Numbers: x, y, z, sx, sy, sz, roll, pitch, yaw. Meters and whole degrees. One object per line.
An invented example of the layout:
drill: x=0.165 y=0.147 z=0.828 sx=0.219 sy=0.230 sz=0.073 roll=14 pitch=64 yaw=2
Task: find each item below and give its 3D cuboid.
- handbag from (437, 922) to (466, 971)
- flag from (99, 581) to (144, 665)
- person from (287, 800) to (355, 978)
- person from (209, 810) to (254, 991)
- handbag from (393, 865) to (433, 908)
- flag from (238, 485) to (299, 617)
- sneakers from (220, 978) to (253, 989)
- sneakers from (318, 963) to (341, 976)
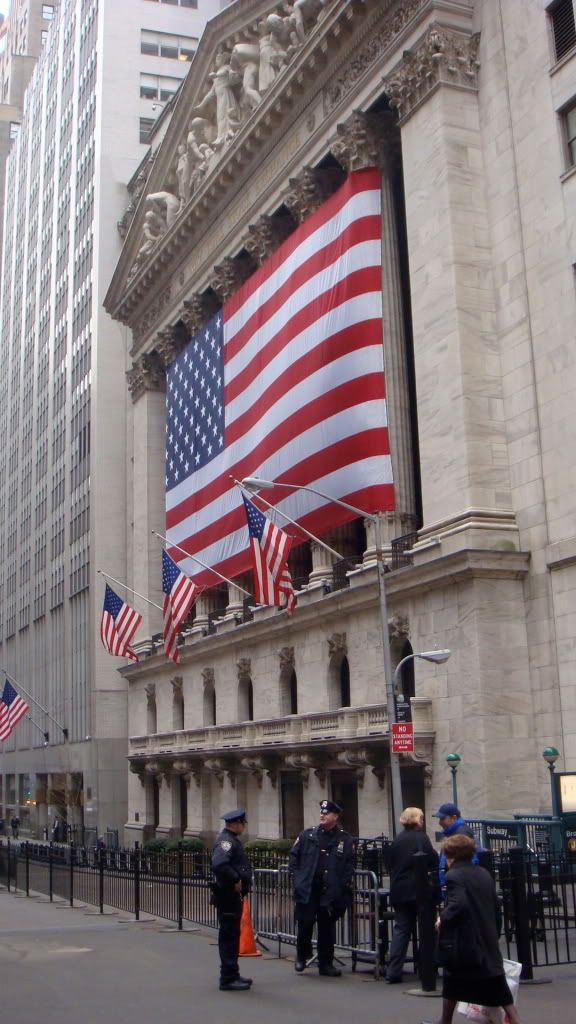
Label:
handbag: x=1.185 y=3.238 z=8.704 sx=0.138 sy=0.327 sz=0.253 roll=3 pitch=-17 yaw=-22
flag: x=-5.912 y=3.703 z=41.226 sx=1.205 sy=2.626 sz=1.801 roll=0 pitch=-16 yaw=-13
person: x=0.397 y=4.186 z=13.017 sx=0.702 sy=1.854 sz=0.818 roll=-4 pitch=-15 yaw=-1
person: x=-0.592 y=4.109 z=12.515 sx=0.428 sy=1.820 sz=1.067 roll=-3 pitch=-16 yaw=-4
handbag: x=1.304 y=3.858 z=12.070 sx=0.391 sy=0.328 sz=0.222 roll=-5 pitch=-5 yaw=-39
flag: x=-0.450 y=0.793 z=27.338 sx=1.080 sy=0.368 sz=3.482 roll=-2 pitch=-59 yaw=4
sneakers: x=-0.538 y=4.825 z=11.972 sx=0.322 sy=0.120 sz=0.242 roll=-3 pitch=-17 yaw=-5
sneakers: x=0.460 y=5.075 z=13.005 sx=0.100 sy=0.113 sz=0.284 roll=6 pitch=-21 yaw=-28
